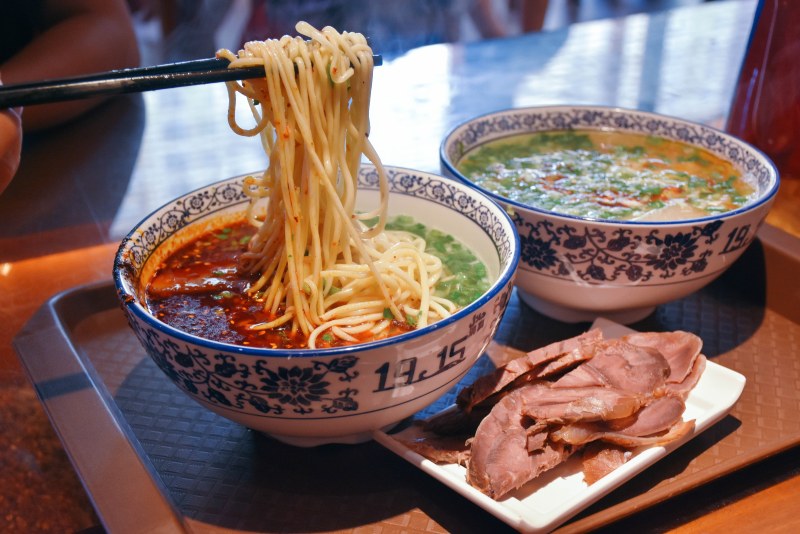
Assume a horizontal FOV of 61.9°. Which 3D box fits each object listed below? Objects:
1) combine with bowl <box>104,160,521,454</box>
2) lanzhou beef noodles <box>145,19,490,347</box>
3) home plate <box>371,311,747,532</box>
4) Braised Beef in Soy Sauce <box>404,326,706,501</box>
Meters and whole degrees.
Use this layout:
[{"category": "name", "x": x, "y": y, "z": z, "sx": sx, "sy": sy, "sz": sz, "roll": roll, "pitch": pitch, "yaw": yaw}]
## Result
[{"category": "combine with bowl", "x": -0.209, "y": 0.092, "z": 2.121, "sx": 1.170, "sy": 0.458, "sz": 0.840, "roll": -19, "pitch": 37, "yaw": -21}, {"category": "lanzhou beef noodles", "x": -0.270, "y": -0.248, "z": 2.286, "sx": 1.100, "sy": 0.741, "sz": 1.044, "roll": 1, "pitch": 31, "yaw": 0}, {"category": "home plate", "x": 0.648, "y": 0.530, "z": 1.988, "sx": 0.841, "sy": 0.121, "sz": 0.534, "roll": -25, "pitch": 35, "yaw": -29}, {"category": "Braised Beef in Soy Sauce", "x": 0.516, "y": 0.396, "z": 1.989, "sx": 0.863, "sy": 0.150, "sz": 0.454, "roll": -19, "pitch": 39, "yaw": -14}]
